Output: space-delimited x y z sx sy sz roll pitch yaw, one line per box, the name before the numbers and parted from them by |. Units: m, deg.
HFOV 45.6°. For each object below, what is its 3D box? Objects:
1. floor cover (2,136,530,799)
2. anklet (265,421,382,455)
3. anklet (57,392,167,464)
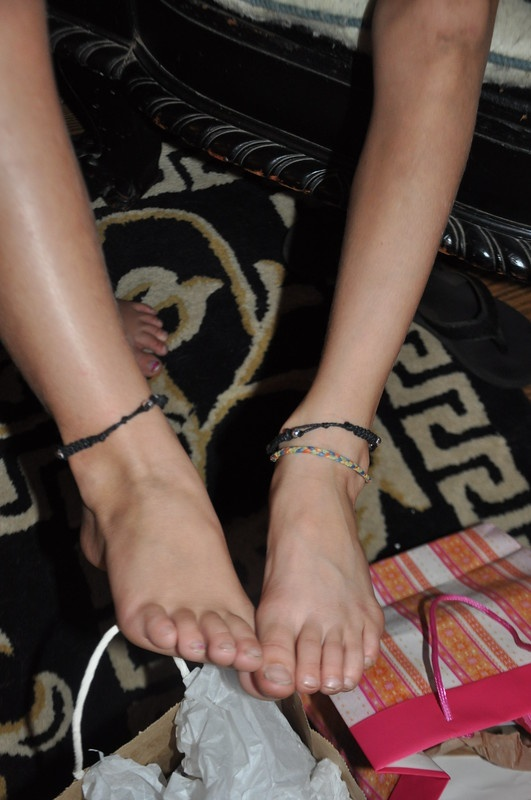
floor cover | -0.036 0.125 0.940 0.838 0.812 0.184 -10 26 25
anklet | 0.054 0.030 0.581 0.060 0.048 0.016 3 72 -37
anklet | -0.126 0.023 0.514 0.069 0.019 0.017 -35 30 0
